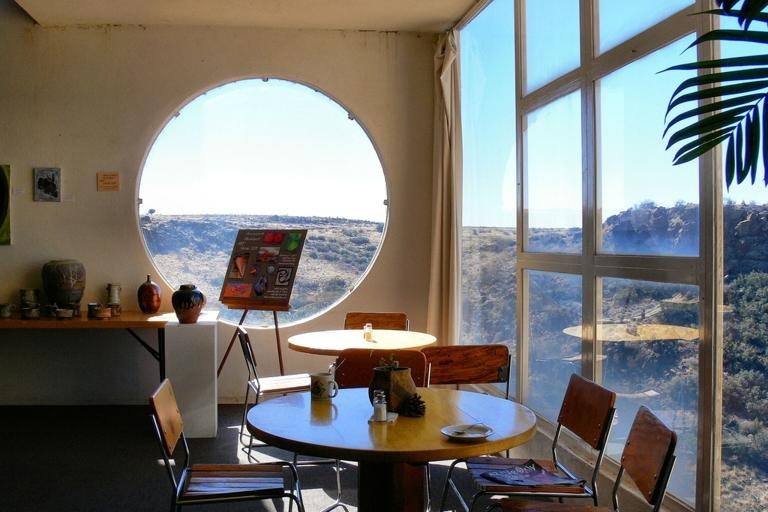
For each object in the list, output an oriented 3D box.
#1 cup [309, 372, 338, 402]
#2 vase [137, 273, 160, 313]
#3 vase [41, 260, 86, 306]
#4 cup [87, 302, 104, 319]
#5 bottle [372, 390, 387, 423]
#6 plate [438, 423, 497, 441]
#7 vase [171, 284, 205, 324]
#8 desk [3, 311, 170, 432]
[{"bbox_3d":[-0.369,0.793,3.561,0.181,0.126,0.116,2,-1,41],"label":"cup"},{"bbox_3d":[-2.520,0.404,6.347,0.234,0.398,0.333,-3,5,-43],"label":"vase"},{"bbox_3d":[-3.342,0.288,6.131,0.383,0.485,0.267,-1,4,-17],"label":"vase"},{"bbox_3d":[-2.912,0.559,5.976,0.158,0.138,0.125,1,0,-23],"label":"cup"},{"bbox_3d":[-0.025,0.831,3.313,0.093,0.162,0.127,0,3,2],"label":"bottle"},{"bbox_3d":[0.441,0.940,3.144,0.278,0.056,0.151,1,3,9],"label":"plate"},{"bbox_3d":[-1.901,0.449,5.743,0.347,0.397,0.350,-1,3,-19],"label":"vase"},{"bbox_3d":[-3.082,1.163,6.341,1.939,1.146,1.029,0,4,-2],"label":"desk"}]
